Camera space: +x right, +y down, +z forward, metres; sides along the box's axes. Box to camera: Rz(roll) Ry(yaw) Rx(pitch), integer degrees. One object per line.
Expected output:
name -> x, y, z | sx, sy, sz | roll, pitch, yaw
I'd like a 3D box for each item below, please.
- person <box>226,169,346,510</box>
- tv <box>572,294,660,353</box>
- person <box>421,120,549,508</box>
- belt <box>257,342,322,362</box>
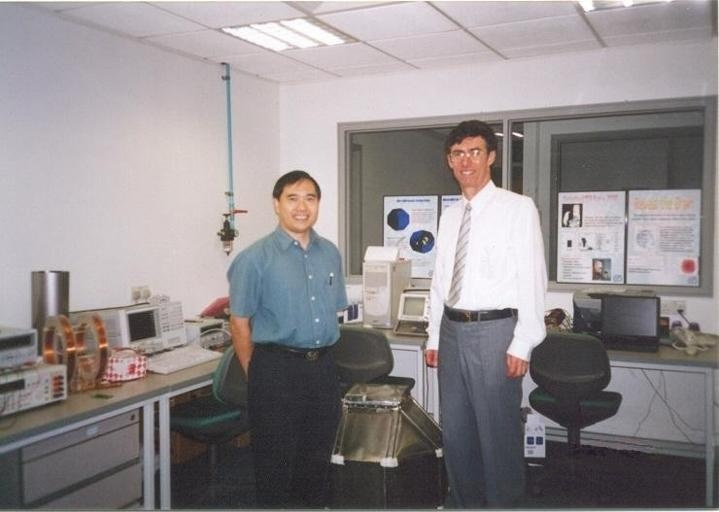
person -> -0.337, 0.487, 2.710 | 0.584, 1.805, 0.306 | -3, 5, -9
tv -> 1.745, 0.433, 3.643 | 0.504, 0.366, 0.340 | 3, 1, 20
person -> 0.663, 0.326, 2.721 | 0.510, 2.010, 0.242 | 0, 5, 20
belt -> -0.326, 0.462, 2.593 | 0.301, 0.096, 0.039 | -3, 5, -6
